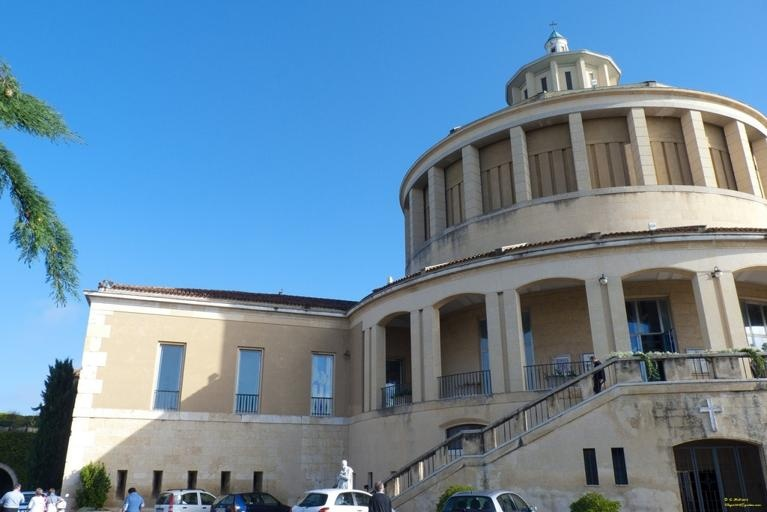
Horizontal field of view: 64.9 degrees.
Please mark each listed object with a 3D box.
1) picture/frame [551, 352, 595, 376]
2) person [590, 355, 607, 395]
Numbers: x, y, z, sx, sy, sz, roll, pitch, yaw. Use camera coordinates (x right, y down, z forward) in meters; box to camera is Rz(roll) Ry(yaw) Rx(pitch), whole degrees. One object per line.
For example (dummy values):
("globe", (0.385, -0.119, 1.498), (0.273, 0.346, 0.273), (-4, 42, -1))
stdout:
("picture/frame", (7.641, 4.379, 24.470), (1.634, 0.971, 1.056), (-7, -23, 15))
("person", (7.105, 3.991, 19.971), (0.583, 1.584, 0.794), (1, -13, 5))
